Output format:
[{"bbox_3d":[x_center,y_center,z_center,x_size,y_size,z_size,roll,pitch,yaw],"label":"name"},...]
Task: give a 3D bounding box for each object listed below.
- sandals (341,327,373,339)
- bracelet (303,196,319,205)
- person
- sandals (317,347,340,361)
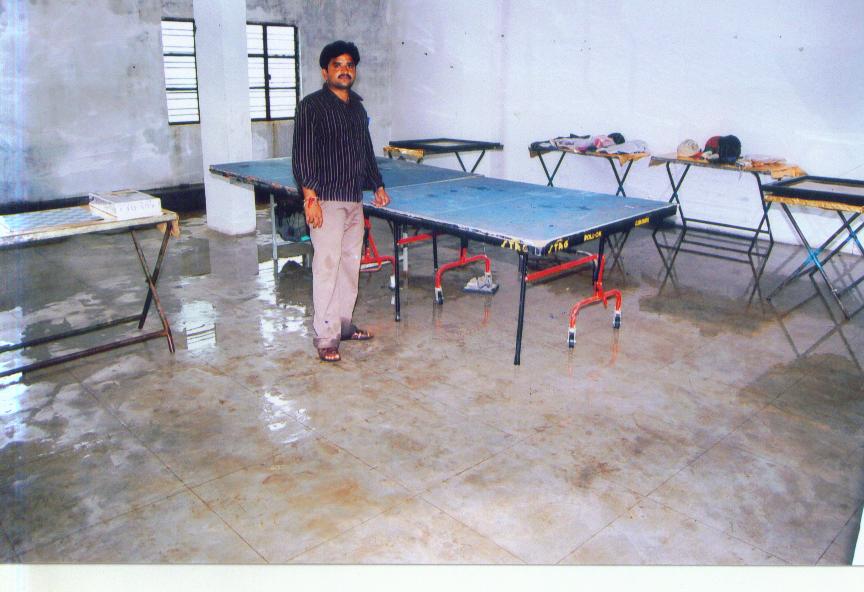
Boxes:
[{"bbox_3d":[-0.626,0.325,4.797,0.265,0.069,0.103,-7,24,-22],"label":"sandals"},{"bbox_3d":[-0.876,-0.695,4.167,0.065,0.023,0.065,10,21,32],"label":"bracelet"},{"bbox_3d":[-0.745,-0.680,4.342,0.569,2.294,0.717,-3,23,-13],"label":"person"},{"bbox_3d":[-0.793,0.460,4.465,0.093,0.063,0.161,-12,12,-32],"label":"sandals"}]
